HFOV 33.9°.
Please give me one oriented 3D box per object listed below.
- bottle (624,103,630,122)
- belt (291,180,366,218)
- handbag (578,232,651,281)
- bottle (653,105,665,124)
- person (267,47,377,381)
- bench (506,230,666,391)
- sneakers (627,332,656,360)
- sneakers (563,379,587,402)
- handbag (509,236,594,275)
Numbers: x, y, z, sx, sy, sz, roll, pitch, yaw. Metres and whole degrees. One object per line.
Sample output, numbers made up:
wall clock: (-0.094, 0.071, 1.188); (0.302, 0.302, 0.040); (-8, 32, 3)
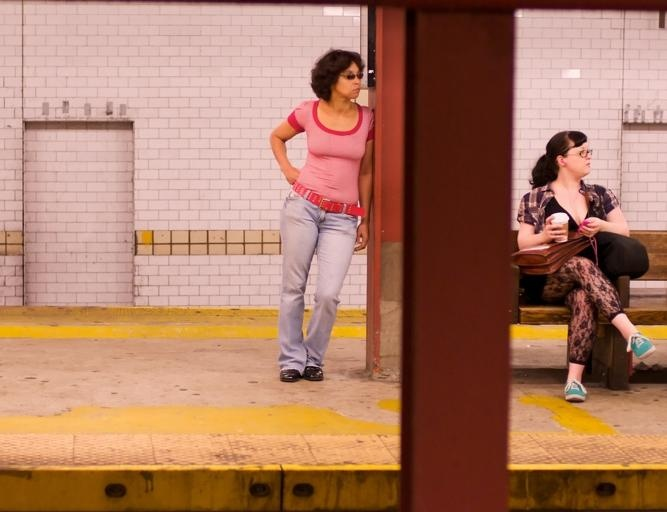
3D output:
bottle: (3.249, -1.584, 12.167); (0.079, 0.194, 0.031); (1, 8, 9)
belt: (-0.041, -0.406, 8.024); (0.523, 0.255, 0.187); (0, 8, -1)
handbag: (1.997, 0.001, 7.714); (0.270, 0.216, 0.425); (-3, 1, -18)
bottle: (3.635, -1.579, 12.266); (0.144, 0.203, 0.030); (-3, 9, -22)
person: (-0.056, -0.301, 8.111); (0.710, 2.418, 0.604); (0, 8, -3)
bench: (1.782, 0.386, 7.780); (1.268, 0.760, 0.435); (0, -2, -3)
sneakers: (2.079, 0.613, 7.469); (0.133, 0.106, 0.254); (-38, 2, 5)
sneakers: (1.667, 0.939, 7.558); (0.142, 0.157, 0.144); (1, 8, 9)
handbag: (1.559, -0.019, 7.712); (0.419, 0.138, 0.318); (-16, 12, -23)
